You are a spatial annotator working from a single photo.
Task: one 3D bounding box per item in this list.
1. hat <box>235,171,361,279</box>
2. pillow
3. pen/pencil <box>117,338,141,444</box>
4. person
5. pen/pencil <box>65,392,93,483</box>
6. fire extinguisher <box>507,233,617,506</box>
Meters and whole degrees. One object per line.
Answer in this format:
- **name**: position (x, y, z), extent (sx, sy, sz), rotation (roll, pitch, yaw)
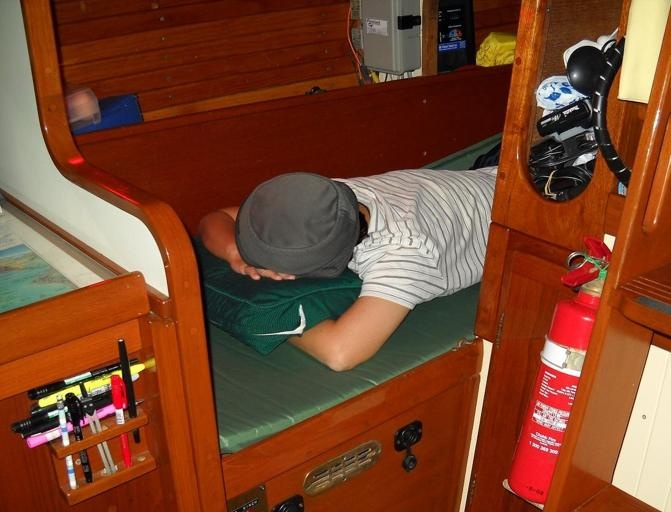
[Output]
- **hat**: position (-0.099, -0.071, 1.398), extent (0.323, 0.312, 0.096), rotation (19, -4, 7)
- **pillow**: position (-0.157, 0.121, 1.460), extent (0.315, 0.090, 0.321), rotation (-26, 50, -27)
- **pen/pencil**: position (-0.392, 0.257, 0.978), extent (0.023, 0.170, 0.019), rotation (-5, 18, 13)
- **person**: position (0.090, 0.091, 1.573), extent (0.873, 0.291, 0.529), rotation (-17, 52, -27)
- **pen/pencil**: position (-0.454, 0.330, 0.930), extent (0.025, 0.190, 0.021), rotation (-12, 17, -12)
- **fire extinguisher**: position (0.499, 0.286, 1.149), extent (0.102, 0.675, 0.187), rotation (16, 35, 33)
